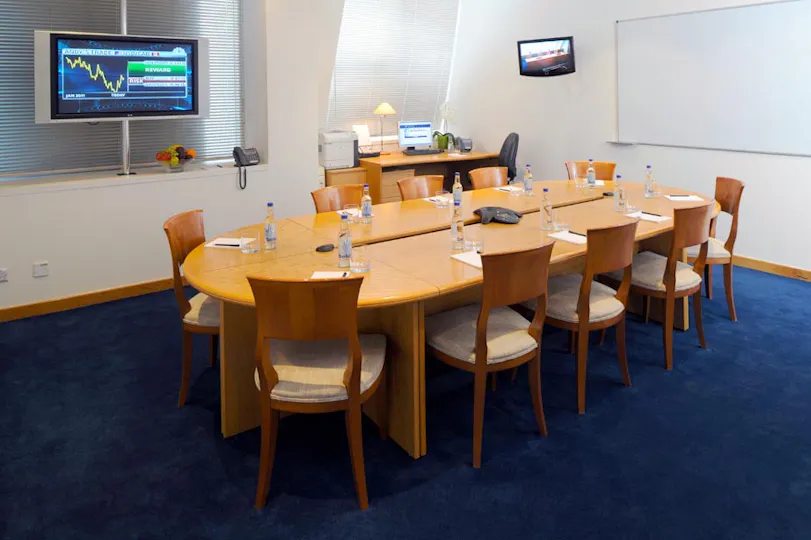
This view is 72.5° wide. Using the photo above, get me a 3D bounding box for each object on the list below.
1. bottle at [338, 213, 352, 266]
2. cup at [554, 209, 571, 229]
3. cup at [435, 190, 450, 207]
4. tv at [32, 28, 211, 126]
[{"bbox_3d":[-0.433,-0.213,3.782,0.089,0.324,0.222,-6,17,-7],"label":"bottle"},{"bbox_3d":[1.318,-0.434,4.701,0.142,0.207,0.233,0,9,5],"label":"cup"},{"bbox_3d":[0.355,-0.684,5.258,0.129,0.127,0.170,4,4,42],"label":"cup"},{"bbox_3d":[-2.790,-1.895,5.464,1.621,0.854,0.108,-15,19,-31],"label":"tv"}]
